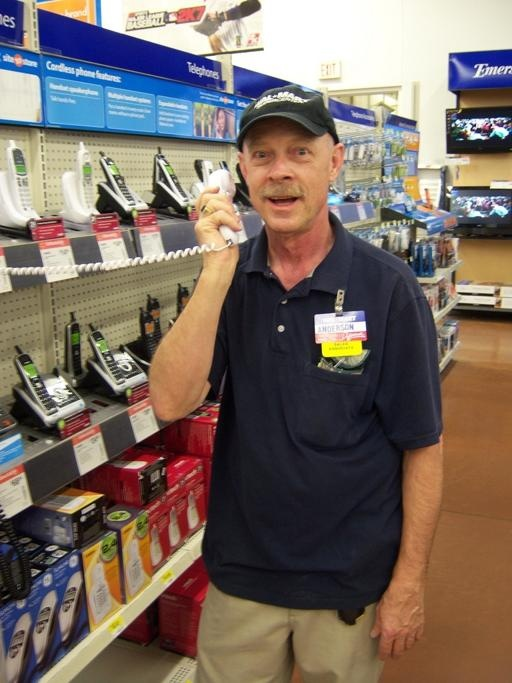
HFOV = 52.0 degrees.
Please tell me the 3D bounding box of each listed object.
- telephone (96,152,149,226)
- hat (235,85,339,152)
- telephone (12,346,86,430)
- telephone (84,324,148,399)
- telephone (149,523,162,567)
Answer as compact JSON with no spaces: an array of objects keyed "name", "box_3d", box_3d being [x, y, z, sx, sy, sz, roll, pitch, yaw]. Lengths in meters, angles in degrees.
[{"name":"telephone","box_3d":[-0.441,-0.506,1.683,0.090,0.192,0.283,-14,30,-35]},{"name":"hat","box_3d":[0.043,-0.401,0.940,0.158,0.100,0.211,-2,7,5]},{"name":"telephone","box_3d":[-0.573,0.126,1.432,0.089,0.150,0.156,-24,62,-40]},{"name":"telephone","box_3d":[-0.414,0.033,1.673,0.118,0.197,0.367,-13,27,-29]},{"name":"telephone","box_3d":[-0.315,0.627,1.624,0.017,0.118,0.049,-7,-18,2]}]
